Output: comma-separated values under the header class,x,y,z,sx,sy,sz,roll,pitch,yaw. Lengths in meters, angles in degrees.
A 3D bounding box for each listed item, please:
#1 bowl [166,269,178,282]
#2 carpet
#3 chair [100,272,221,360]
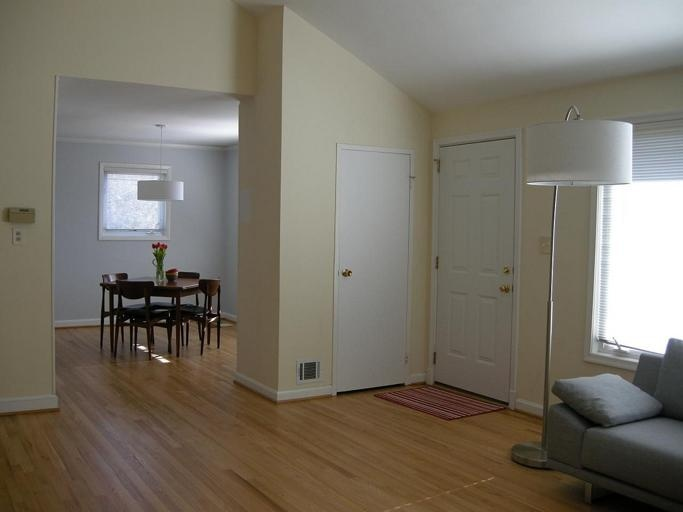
class,x,y,z,sx,sy,sz,roll,pitch,yaw
bowl,-2.264,0.252,7.082,0.145,0.156,0.157,1,-7,0
carpet,0.968,1.426,5.248,1.131,0.016,0.781,6,7,44
chair,-2.260,0.651,6.915,1.214,0.795,1.203,-2,4,-45
